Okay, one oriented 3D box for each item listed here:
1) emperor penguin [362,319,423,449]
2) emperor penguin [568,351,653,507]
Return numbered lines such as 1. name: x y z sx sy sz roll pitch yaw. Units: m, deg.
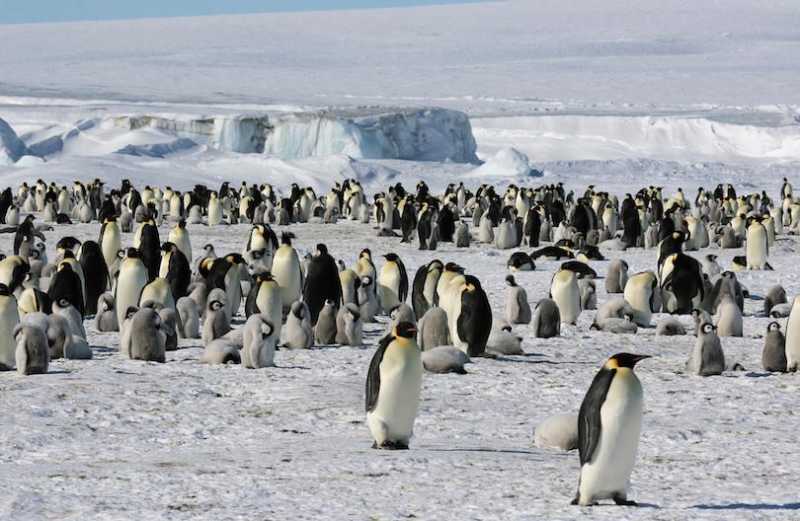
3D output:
1. emperor penguin: -0.083 1.403 13.744 0.606 1.448 0.279 2 2 -1
2. emperor penguin: 2.230 1.803 12.961 1.205 1.568 0.821 -4 -9 14
